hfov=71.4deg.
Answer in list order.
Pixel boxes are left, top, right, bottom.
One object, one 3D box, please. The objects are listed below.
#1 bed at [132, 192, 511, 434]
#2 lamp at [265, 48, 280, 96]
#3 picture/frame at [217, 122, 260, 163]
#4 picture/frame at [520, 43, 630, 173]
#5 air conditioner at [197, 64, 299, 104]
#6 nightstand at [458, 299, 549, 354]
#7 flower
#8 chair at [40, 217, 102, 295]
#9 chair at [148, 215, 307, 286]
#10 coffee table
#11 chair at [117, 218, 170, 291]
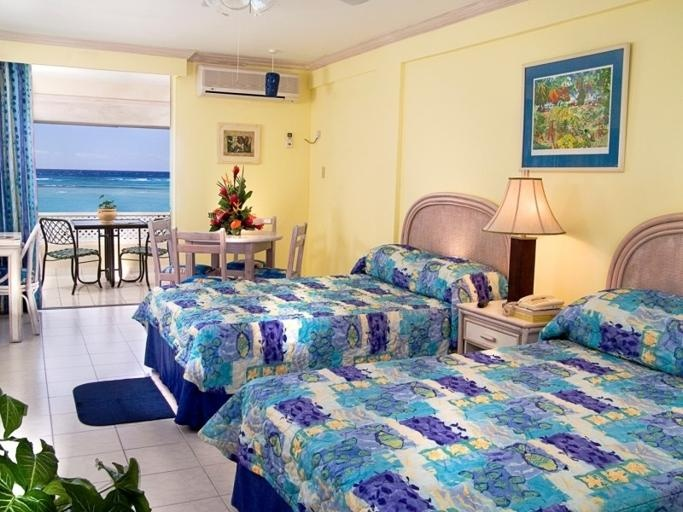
[{"bbox_3d":[-0.191,0.374,3.825,2.576,1.482,1.753,-4,10,-26],"label":"bed"},{"bbox_3d":[-0.868,-2.229,5.905,0.171,0.512,0.631,-1,10,-8],"label":"lamp"},{"bbox_3d":[-1.374,-1.491,6.197,0.570,0.477,0.059,-2,5,-30],"label":"picture/frame"},{"bbox_3d":[1.626,-1.013,3.246,0.039,0.966,1.028,-2,5,-32],"label":"picture/frame"},{"bbox_3d":[-1.148,-2.179,6.094,1.233,0.361,0.325,9,17,10],"label":"air conditioner"},{"bbox_3d":[1.099,0.466,3.243,0.349,0.442,0.462,-4,10,-32],"label":"nightstand"},{"bbox_3d":[-1.187,-0.573,5.215,0.561,0.786,0.548,14,21,27],"label":"flower"},{"bbox_3d":[-4.289,-0.164,7.416,0.720,1.028,2.537,-6,12,-31],"label":"chair"},{"bbox_3d":[-1.246,-0.010,4.915,1.097,0.686,1.089,1,10,5],"label":"chair"},{"bbox_3d":[-3.765,-0.032,7.653,1.044,0.982,1.022,-5,13,-28],"label":"coffee table"},{"bbox_3d":[-3.100,-0.058,7.136,0.660,0.889,0.623,2,3,-34],"label":"chair"}]
